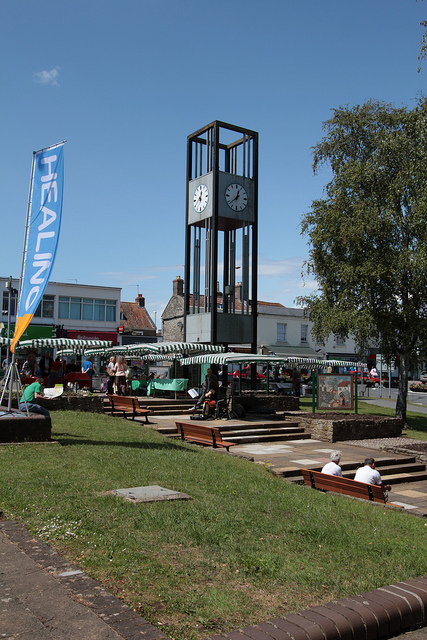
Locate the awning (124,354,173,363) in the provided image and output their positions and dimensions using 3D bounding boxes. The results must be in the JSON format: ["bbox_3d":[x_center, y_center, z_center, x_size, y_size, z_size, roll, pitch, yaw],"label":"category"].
[{"bbox_3d":[-3.404,1.948,31.964,2.178,0.217,5.141,7,-4,-8],"label":"awning"}]

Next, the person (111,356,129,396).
[{"bbox_3d":[-3.433,2.068,22.602,0.634,1.443,1.232,7,-4,-11],"label":"person"}]

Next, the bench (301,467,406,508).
[{"bbox_3d":[1.835,2.383,8.659,0.446,0.329,1.678,9,-5,-37],"label":"bench"}]

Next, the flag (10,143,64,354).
[{"bbox_3d":[-3.041,-1.264,10.733,0.896,3.828,0.289,-1,-9,34],"label":"flag"}]

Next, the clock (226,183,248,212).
[{"bbox_3d":[0.996,-5.533,27.295,1.367,1.429,0.085,1,-4,-35],"label":"clock"}]

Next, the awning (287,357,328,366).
[{"bbox_3d":[4.412,1.978,29.091,1.248,0.313,4.402,5,-5,22],"label":"awning"}]

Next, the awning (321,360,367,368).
[{"bbox_3d":[6.750,2.294,32.118,1.604,0.420,8.316,5,-4,10],"label":"awning"}]

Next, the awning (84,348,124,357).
[{"bbox_3d":[-5.331,1.583,29.801,1.055,0.298,1.106,-2,-6,23],"label":"awning"}]

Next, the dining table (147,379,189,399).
[{"bbox_3d":[-1.803,2.672,23.745,0.611,0.836,2.282,8,-5,-30],"label":"dining table"}]

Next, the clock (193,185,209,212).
[{"bbox_3d":[-0.548,-5.524,27.480,0.112,1.432,1.371,2,2,-26],"label":"clock"}]
